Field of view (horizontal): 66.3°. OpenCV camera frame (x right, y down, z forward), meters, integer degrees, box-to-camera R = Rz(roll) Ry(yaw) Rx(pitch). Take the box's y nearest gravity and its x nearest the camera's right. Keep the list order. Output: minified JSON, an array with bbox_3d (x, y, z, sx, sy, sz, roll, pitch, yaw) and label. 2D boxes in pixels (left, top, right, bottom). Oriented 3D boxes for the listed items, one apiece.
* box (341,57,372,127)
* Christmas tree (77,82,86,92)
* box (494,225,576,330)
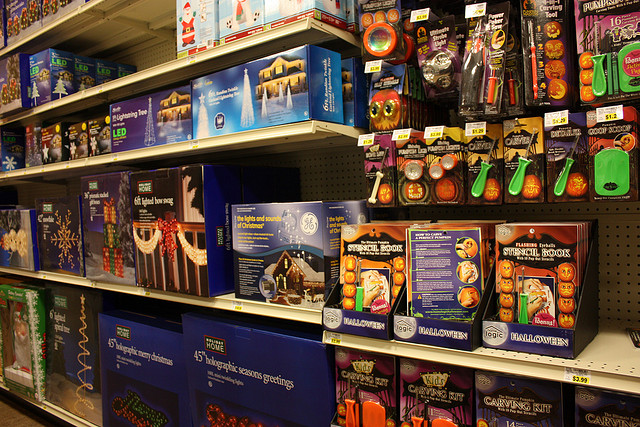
[{"bbox_3d":[0.184,-0.651,2.628,0.097,0.351,0.173,-7,5,-35],"label":"box"},{"bbox_3d":[-1.771,-0.952,3.629,0.044,0.065,0.064,-7,6,-25],"label":"Christmas tree"},{"bbox_3d":[0.897,0.293,2.108,0.335,0.491,0.164,2,-4,6],"label":"box"}]
